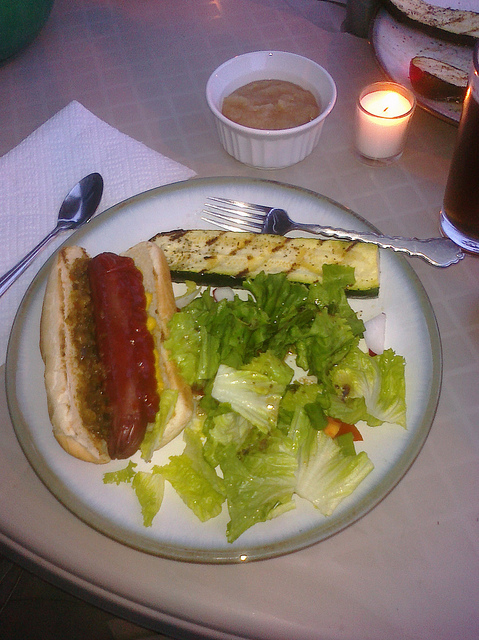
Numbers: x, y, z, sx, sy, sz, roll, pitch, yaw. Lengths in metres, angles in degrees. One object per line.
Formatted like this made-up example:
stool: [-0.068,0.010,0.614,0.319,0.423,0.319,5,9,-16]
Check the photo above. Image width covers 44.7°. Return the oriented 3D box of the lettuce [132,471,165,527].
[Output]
lettuce: [-0.307,0.598,2.013,0.139,0.047,0.194,-8,39,0]

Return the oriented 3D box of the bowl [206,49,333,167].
bowl: [0.148,-1.010,2.737,0.622,0.276,0.569,0,55,0]

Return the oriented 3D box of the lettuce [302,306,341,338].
lettuce: [0.317,0.025,2.244,0.098,0.044,0.130,11,68,19]

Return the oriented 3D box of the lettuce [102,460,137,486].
lettuce: [-0.421,0.556,2.080,0.130,0.031,0.074,-31,62,-18]

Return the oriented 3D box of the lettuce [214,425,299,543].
lettuce: [0.018,0.591,1.967,0.268,0.090,0.334,10,36,16]

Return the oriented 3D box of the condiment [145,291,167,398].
condiment: [-0.362,0.097,2.439,0.093,0.061,0.486,-6,80,4]

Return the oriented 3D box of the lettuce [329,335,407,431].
lettuce: [0.475,0.217,2.201,0.388,0.143,0.312,18,61,8]

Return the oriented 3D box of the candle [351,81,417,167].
candle: [0.621,-0.954,2.896,0.380,0.394,0.358,2,58,7]

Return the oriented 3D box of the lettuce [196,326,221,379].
lettuce: [-0.107,0.130,2.196,0.112,0.048,0.171,-3,88,-9]

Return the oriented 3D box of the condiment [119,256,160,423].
condiment: [-0.418,0.066,2.366,0.146,0.125,0.733,-7,70,-20]

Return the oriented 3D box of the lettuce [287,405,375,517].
lettuce: [0.269,0.472,2.041,0.338,0.071,0.308,36,65,21]

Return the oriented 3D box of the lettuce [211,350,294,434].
lettuce: [0.099,0.300,2.170,0.319,0.426,0.113,-30,101,-5]
